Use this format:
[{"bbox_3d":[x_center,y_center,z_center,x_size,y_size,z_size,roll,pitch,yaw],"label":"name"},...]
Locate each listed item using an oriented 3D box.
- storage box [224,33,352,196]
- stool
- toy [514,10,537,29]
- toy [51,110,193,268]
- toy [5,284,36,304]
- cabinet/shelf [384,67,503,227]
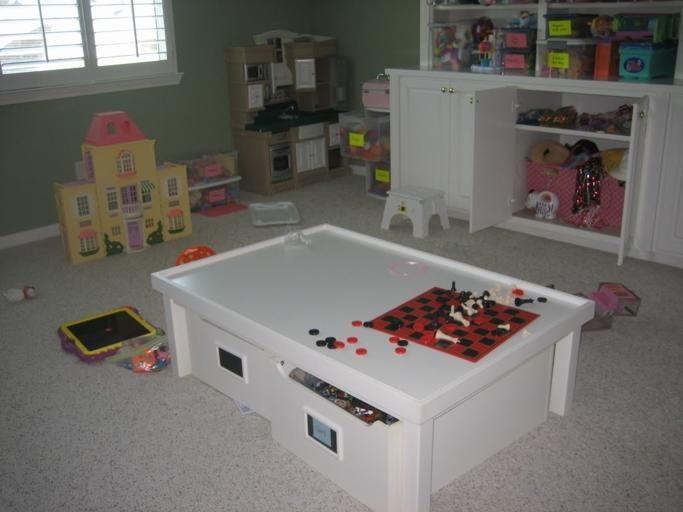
[{"bbox_3d":[-0.549,-1.538,5.417,1.255,1.519,0.700,-20,28,-37],"label":"storage box"},{"bbox_3d":[0.625,-0.458,4.192,0.441,0.314,0.446,18,32,35],"label":"stool"},{"bbox_3d":[1.447,-1.853,4.037,0.146,0.071,0.210,13,39,27],"label":"toy"},{"bbox_3d":[-1.642,-0.541,3.916,0.912,1.024,0.333,-9,23,-17],"label":"toy"},{"bbox_3d":[-2.088,0.244,3.378,0.164,0.070,0.104,-13,47,-25],"label":"toy"},{"bbox_3d":[0.859,-0.889,4.189,1.112,1.031,0.586,19,29,40],"label":"cabinet/shelf"}]
